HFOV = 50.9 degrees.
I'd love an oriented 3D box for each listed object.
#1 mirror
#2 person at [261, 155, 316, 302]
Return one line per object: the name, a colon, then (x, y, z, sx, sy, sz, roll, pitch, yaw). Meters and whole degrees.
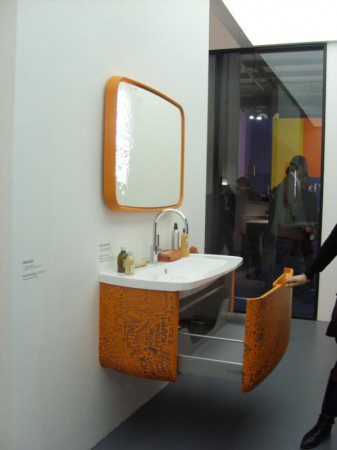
mirror: (-0.097, -0.410, 1.972, 0.039, 0.670, 0.757, 5, 6, 27)
person: (1.341, -0.015, 3.793, 0.405, 1.560, 0.389, 8, 40, 26)
